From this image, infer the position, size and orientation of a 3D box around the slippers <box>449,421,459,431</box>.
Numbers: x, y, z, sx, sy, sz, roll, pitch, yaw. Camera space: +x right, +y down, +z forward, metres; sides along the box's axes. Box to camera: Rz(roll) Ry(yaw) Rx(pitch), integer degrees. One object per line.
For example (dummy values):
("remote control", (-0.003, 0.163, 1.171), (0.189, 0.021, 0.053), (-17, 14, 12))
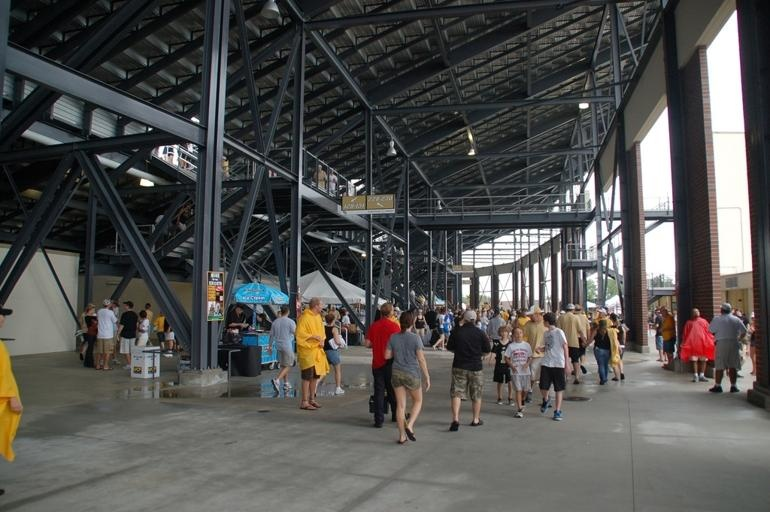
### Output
("slippers", (1.471, 3.589, 13.803), (0.202, 0.199, 0.308), (-1, -10, 3))

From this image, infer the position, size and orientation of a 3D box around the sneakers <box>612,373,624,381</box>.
("sneakers", (6.957, 3.642, 19.509), (0.183, 0.201, 0.505), (1, -8, -1))

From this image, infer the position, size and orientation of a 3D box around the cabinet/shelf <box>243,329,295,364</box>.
("cabinet/shelf", (-3.339, 2.583, 18.627), (0.738, 0.754, 1.500), (0, -5, 12))

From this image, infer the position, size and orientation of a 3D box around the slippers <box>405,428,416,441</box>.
("slippers", (0.536, 3.599, 13.154), (0.193, 0.260, 0.190), (-4, -10, 17))

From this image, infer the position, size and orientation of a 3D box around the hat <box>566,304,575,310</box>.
("hat", (5.419, 1.501, 19.063), (0.181, 0.112, 0.280), (1, 3, 19))

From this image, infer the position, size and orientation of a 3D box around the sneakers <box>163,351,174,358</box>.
("sneakers", (-8.459, 3.868, 25.563), (0.232, 0.251, 0.559), (2, -9, -42))

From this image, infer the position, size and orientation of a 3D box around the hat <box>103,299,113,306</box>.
("hat", (-8.778, 1.479, 20.684), (0.235, 0.117, 0.309), (4, -6, -26))

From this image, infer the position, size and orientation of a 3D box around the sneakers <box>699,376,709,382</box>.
("sneakers", (9.286, 3.568, 18.999), (0.422, 0.166, 0.131), (0, -2, -42))

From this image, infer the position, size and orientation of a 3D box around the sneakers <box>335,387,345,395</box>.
("sneakers", (-1.182, 3.578, 17.237), (0.109, 0.179, 0.286), (3, 4, 40))

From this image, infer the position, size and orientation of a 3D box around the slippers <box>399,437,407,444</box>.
("slippers", (0.365, 3.686, 13.012), (0.159, 0.066, 0.087), (3, -3, 14))

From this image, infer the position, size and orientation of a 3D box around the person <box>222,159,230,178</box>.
("person", (-6.713, -3.615, 27.697), (0.205, 0.895, 1.160), (1, -10, -11))

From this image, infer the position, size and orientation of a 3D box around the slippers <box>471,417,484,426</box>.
("slippers", (2.020, 3.611, 14.212), (0.103, 0.118, 0.270), (0, 3, 42))

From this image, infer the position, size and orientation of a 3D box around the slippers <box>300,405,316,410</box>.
("slippers", (-1.791, 3.556, 15.272), (0.233, 0.082, 0.132), (-5, -7, 26))

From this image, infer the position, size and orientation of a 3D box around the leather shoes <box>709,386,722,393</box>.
("leather shoes", (8.717, 3.496, 17.198), (0.321, 0.177, 0.289), (-6, -11, 25))
